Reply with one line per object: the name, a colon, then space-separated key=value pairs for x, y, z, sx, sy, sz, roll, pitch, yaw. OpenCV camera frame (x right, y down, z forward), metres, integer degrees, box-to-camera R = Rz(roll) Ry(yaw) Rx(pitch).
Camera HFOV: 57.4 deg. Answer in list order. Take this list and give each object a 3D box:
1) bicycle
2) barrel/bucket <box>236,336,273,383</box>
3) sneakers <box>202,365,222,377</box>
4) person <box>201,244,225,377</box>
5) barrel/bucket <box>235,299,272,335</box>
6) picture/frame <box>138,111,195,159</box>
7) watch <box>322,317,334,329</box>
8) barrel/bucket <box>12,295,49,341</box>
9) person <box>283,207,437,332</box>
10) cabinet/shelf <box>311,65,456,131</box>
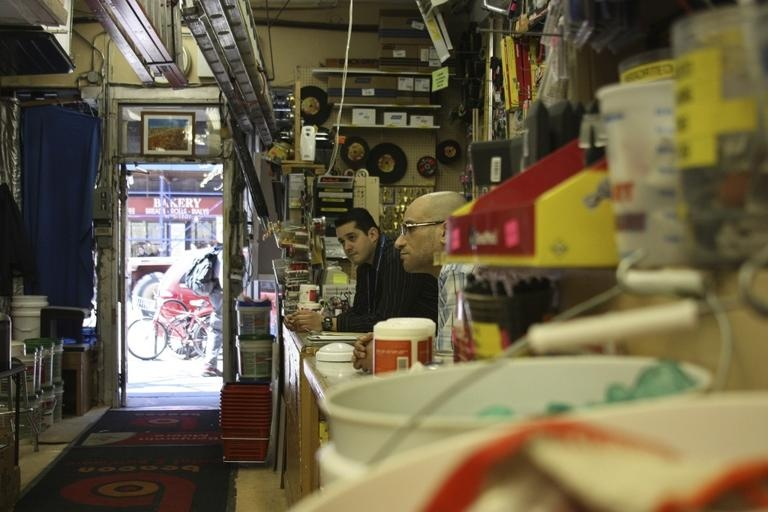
bicycle: x=-2.751 y=0.971 z=9.089 sx=1.240 sy=0.775 sz=0.620 roll=3 pitch=-4 yaw=-4
barrel/bucket: x=-0.946 y=0.782 z=5.287 sx=0.322 sy=0.340 sz=0.304 roll=-2 pitch=-4 yaw=0
sneakers: x=-2.141 y=1.461 z=8.753 sx=0.094 sy=0.115 sz=0.269 roll=-10 pitch=-17 yaw=43
person: x=-2.162 y=0.718 z=8.930 sx=0.208 sy=1.554 sz=0.577 roll=1 pitch=-2 yaw=-14
barrel/bucket: x=-1.146 y=0.568 z=6.290 sx=0.307 sy=0.318 sz=0.304 roll=1 pitch=-1 yaw=0
picture/frame: x=-2.142 y=-1.205 z=6.992 sx=0.546 sy=0.471 sz=0.043 roll=0 pitch=-1 yaw=-1
watch: x=-0.279 y=0.351 z=3.549 sx=0.055 sy=0.043 sz=0.023 roll=3 pitch=-8 yaw=-6
barrel/bucket: x=-3.106 y=0.544 z=6.111 sx=0.269 sy=0.375 sz=0.284 roll=1 pitch=-1 yaw=0
person: x=-0.069 y=0.080 z=3.904 sx=0.972 sy=0.627 sz=0.689 roll=-6 pitch=-1 yaw=-17
cabinet/shelf: x=0.316 y=-1.554 z=6.975 sx=1.763 sy=0.619 sz=1.184 roll=13 pitch=10 yaw=42
